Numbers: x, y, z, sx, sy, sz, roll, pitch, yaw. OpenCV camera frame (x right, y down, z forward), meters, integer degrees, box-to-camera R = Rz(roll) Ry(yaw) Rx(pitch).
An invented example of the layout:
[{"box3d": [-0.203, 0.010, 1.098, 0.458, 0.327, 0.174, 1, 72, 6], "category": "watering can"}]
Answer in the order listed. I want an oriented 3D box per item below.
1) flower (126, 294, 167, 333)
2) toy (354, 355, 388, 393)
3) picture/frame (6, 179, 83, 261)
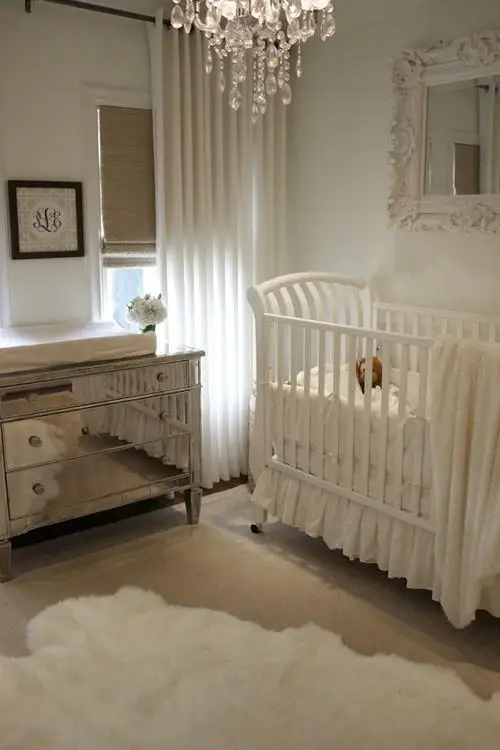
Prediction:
[{"box3d": [-0.439, -0.271, 2.529, 0.191, 0.161, 0.164, -6, 9, -37], "category": "flower"}, {"box3d": [0.452, -0.004, 2.205, 0.108, 0.132, 0.163, -5, 15, -2], "category": "toy"}, {"box3d": [-0.873, -0.658, 2.417, 0.290, 0.351, 0.023, -10, 15, -43], "category": "picture/frame"}]
